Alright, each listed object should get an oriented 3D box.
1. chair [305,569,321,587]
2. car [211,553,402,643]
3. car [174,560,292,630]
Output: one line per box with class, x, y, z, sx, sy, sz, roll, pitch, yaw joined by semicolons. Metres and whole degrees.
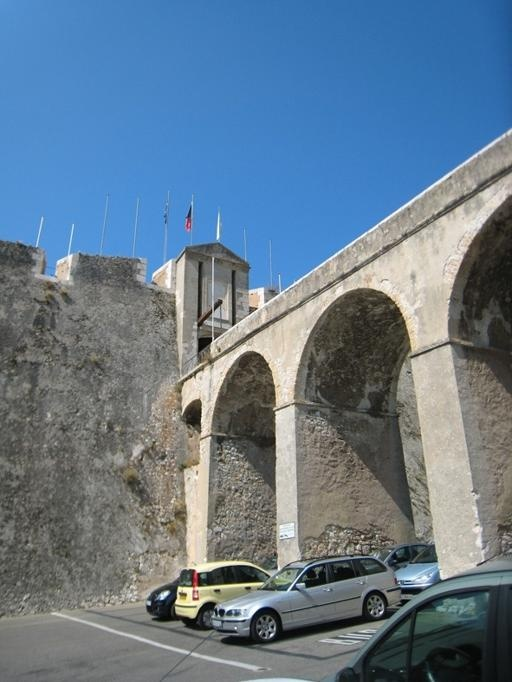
chair;0.745;3.059;8.188;0.173;0.189;0.153;16;-27;-34
car;0.652;3.397;8.393;2.294;0.875;1.056;8;-34;-24
car;-0.416;3.877;9.922;1.519;0.800;0.897;9;-31;-33
